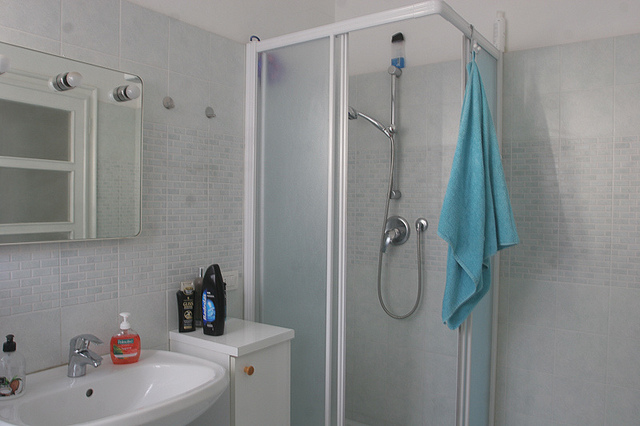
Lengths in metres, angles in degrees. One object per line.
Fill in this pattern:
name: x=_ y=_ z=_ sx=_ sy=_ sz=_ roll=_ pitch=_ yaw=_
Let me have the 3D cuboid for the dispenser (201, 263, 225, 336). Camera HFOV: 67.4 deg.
dispenser: x=-0.532 y=0.415 z=2.381 sx=0.119 sy=0.332 sz=0.109 roll=11 pitch=6 yaw=37

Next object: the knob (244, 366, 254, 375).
knob: x=-0.334 y=0.732 z=2.253 sx=0.036 sy=0.030 sz=0.034 roll=3 pitch=-7 yaw=-13

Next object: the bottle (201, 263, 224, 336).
bottle: x=-0.542 y=0.431 z=2.418 sx=0.145 sy=0.347 sz=0.081 roll=-3 pitch=-1 yaw=29

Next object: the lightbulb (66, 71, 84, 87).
lightbulb: x=-1.050 y=-0.574 z=2.051 sx=0.056 sy=0.041 sz=0.053 roll=-3 pitch=-1 yaw=44

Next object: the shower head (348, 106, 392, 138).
shower head: x=0.286 y=-0.497 z=2.516 sx=0.077 sy=0.301 sz=0.103 roll=-52 pitch=4 yaw=40

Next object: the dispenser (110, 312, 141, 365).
dispenser: x=-0.901 y=0.577 z=2.224 sx=0.135 sy=0.226 sz=0.066 roll=0 pitch=0 yaw=-24

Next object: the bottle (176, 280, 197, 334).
bottle: x=-0.689 y=0.473 z=2.487 sx=0.102 sy=0.203 sz=0.136 roll=-2 pitch=-1 yaw=-16
